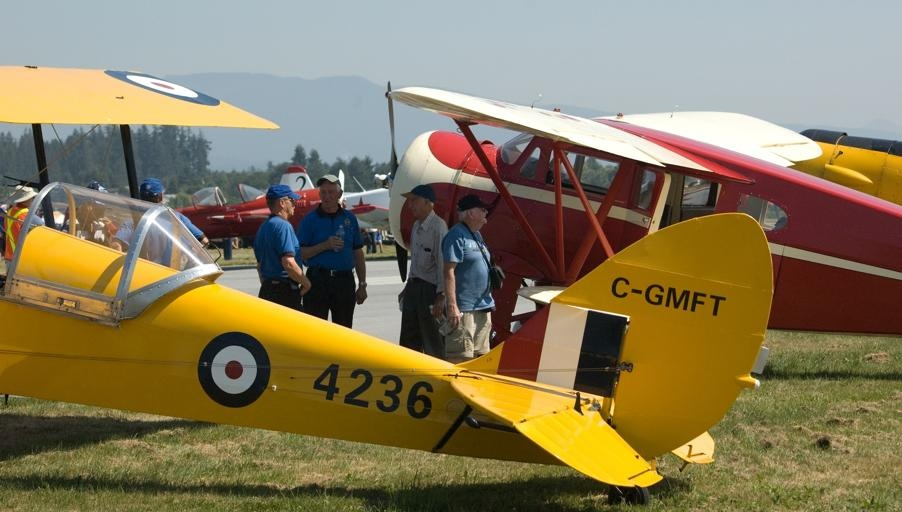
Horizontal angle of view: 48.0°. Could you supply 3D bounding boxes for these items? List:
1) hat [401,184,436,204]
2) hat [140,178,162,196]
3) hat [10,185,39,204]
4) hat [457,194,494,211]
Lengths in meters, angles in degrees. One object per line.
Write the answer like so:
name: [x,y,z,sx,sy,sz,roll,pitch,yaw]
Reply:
hat: [-0.393,-0.755,12.516,0.342,0.166,0.226,4,2,-5]
hat: [-3.797,-0.855,12.786,0.204,0.138,0.265,5,8,8]
hat: [-5.159,-0.732,12.170,0.258,0.149,0.297,-22,10,-7]
hat: [0.262,-0.617,11.932,0.336,0.129,0.206,1,6,-7]
